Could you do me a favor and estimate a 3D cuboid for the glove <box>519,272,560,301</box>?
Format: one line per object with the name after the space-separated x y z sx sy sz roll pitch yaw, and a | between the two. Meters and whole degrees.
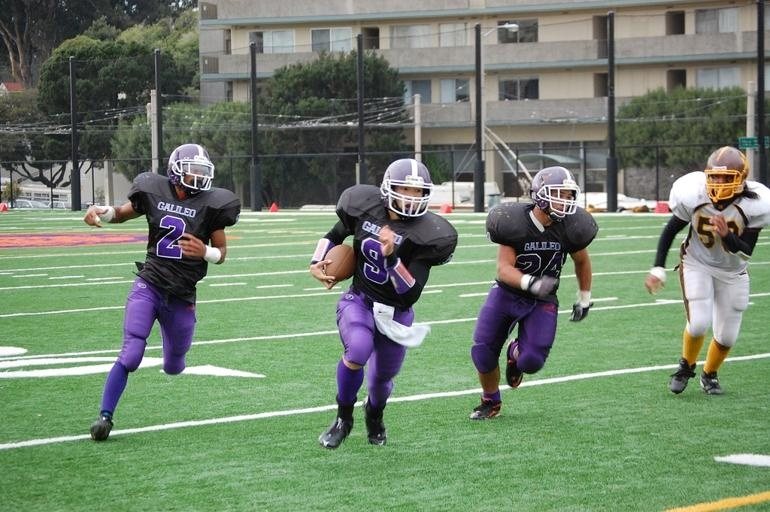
1.261 0.238 6.345 0.260 0.176 0.110 15 29 35 | glove

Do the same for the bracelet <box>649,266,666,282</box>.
2.461 0.161 7.047 0.119 0.122 0.112 4 6 39 | bracelet

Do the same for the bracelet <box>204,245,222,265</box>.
-1.483 -0.021 6.686 0.140 0.151 0.240 1 5 3 | bracelet

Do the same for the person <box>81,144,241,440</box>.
-1.875 0.249 6.687 1.225 2.410 0.740 -1 5 -23 | person

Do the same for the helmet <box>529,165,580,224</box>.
1.433 -0.525 6.565 0.397 0.448 0.304 1 5 6 | helmet

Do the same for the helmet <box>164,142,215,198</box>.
-1.704 -0.760 6.836 0.352 0.410 0.449 4 13 -32 | helmet

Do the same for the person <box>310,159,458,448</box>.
-0.027 0.377 6.131 1.119 2.284 0.714 1 5 4 | person

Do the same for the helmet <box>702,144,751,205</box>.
3.017 -0.706 6.878 0.356 0.503 0.294 2 5 17 | helmet

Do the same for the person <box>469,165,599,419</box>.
1.264 0.314 6.730 0.897 2.180 0.812 -4 6 -42 | person

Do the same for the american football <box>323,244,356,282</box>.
-0.363 0.058 6.174 0.169 0.283 0.208 39 -38 -24 | american football

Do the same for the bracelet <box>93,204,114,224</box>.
-2.479 -0.379 6.878 0.122 0.167 0.163 3 -10 39 | bracelet

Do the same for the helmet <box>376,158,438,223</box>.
0.165 -0.560 6.240 0.343 0.403 0.475 3 7 -11 | helmet

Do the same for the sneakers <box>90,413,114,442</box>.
-2.313 1.369 6.315 0.162 0.242 0.222 -1 5 -23 | sneakers

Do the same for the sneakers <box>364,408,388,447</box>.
-0.062 1.367 6.274 0.122 0.352 0.152 -6 -6 -22 | sneakers

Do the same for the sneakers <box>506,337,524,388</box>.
1.144 0.984 6.974 0.186 0.450 0.150 20 36 37 | sneakers

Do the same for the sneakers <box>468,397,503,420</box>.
0.878 1.313 6.814 0.337 0.165 0.121 -11 22 -26 | sneakers

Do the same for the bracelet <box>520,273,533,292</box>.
1.153 0.212 6.339 0.107 0.099 0.106 1 -4 -23 | bracelet
